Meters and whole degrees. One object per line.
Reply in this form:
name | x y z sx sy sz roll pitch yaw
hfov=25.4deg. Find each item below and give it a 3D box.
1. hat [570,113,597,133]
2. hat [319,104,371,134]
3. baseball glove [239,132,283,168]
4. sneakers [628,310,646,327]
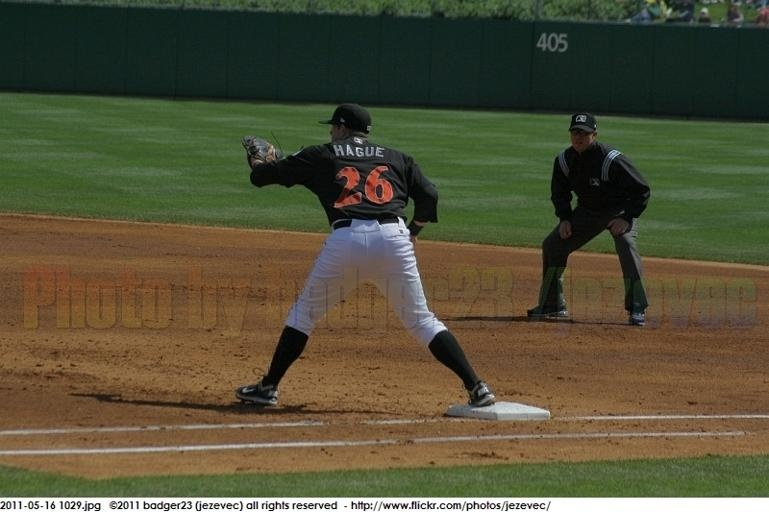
hat | 3.556 -2.425 31.262 0.464 0.328 0.411 1 7 6
hat | -0.661 -2.347 29.066 0.750 0.357 0.498 14 9 13
baseball glove | -2.240 -1.817 29.219 0.649 0.231 0.463 25 27 21
sneakers | 4.578 1.140 31.435 0.163 0.170 0.399 4 12 27
